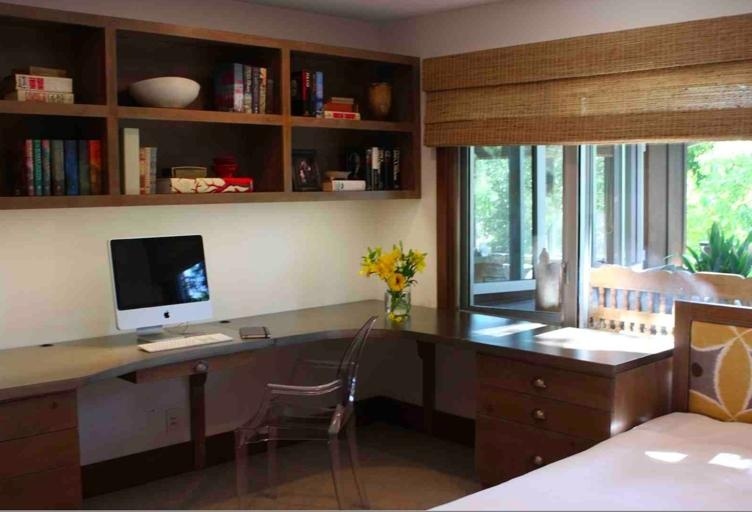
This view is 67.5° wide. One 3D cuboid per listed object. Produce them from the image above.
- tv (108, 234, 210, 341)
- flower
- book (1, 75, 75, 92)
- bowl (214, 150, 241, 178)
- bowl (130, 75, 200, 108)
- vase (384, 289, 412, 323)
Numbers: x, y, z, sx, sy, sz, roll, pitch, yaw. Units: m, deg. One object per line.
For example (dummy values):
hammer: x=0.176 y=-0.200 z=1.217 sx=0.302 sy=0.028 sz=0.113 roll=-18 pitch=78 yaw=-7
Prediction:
tv: x=-1.275 y=0.189 z=3.256 sx=0.607 sy=0.558 sz=0.226 roll=-4 pitch=-6 yaw=-39
flower: x=0.123 y=0.159 z=4.027 sx=0.499 sy=0.516 sz=0.515 roll=6 pitch=-6 yaw=-39
book: x=-1.705 y=-0.889 z=2.900 sx=0.262 sy=0.084 sz=0.026 roll=-4 pitch=10 yaw=-33
bowl: x=-0.921 y=-0.571 z=3.513 sx=0.159 sy=0.119 sz=0.151 roll=0 pitch=-3 yaw=0
bowl: x=-1.276 y=-0.958 z=3.363 sx=0.436 sy=0.164 sz=0.435 roll=-2 pitch=11 yaw=0
vase: x=0.148 y=0.327 z=3.776 sx=0.196 sy=0.194 sz=0.180 roll=1 pitch=4 yaw=3
